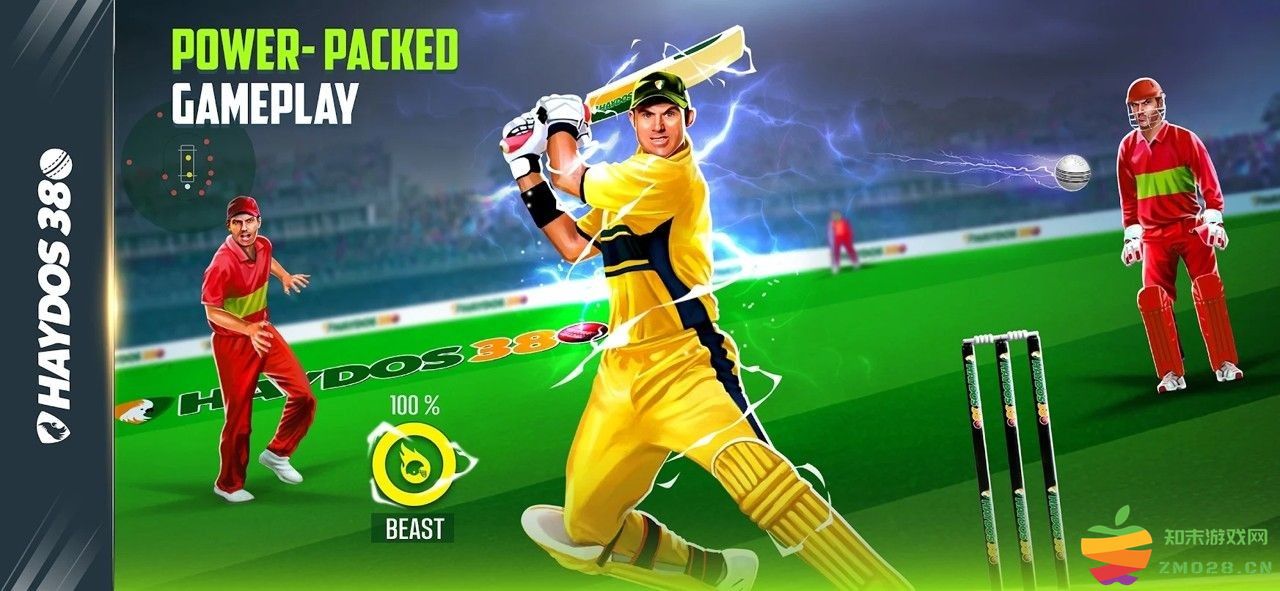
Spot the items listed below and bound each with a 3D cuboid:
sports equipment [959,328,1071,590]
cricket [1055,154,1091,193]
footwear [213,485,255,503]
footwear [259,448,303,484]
[{"bbox_3d":[3.479,1.505,8.703,0.724,2.379,0.462,-7,7,12],"label":"sports equipment"},{"bbox_3d":[4.087,-1.168,8.812,0.356,0.342,0.051,-8,6,-10],"label":"cricket"},{"bbox_3d":[-3.900,1.850,8.788,0.454,0.160,0.139,-3,-4,23],"label":"footwear"},{"bbox_3d":[-3.382,1.589,8.796,0.527,0.177,0.225,30,-20,-2],"label":"footwear"}]
